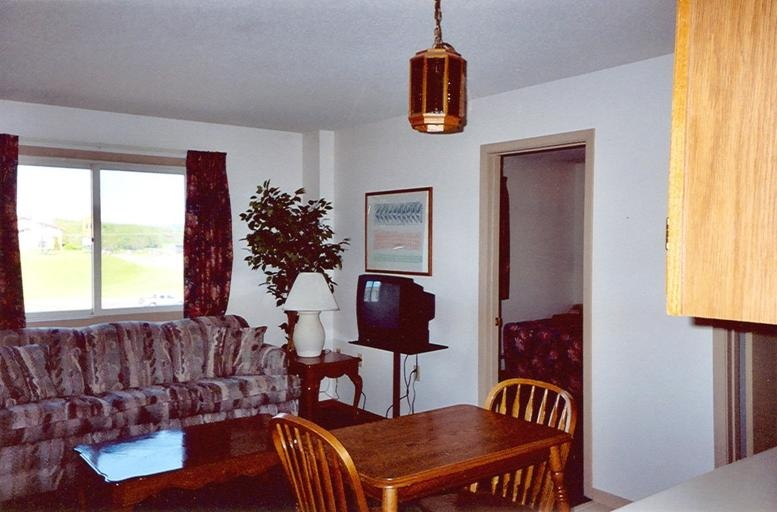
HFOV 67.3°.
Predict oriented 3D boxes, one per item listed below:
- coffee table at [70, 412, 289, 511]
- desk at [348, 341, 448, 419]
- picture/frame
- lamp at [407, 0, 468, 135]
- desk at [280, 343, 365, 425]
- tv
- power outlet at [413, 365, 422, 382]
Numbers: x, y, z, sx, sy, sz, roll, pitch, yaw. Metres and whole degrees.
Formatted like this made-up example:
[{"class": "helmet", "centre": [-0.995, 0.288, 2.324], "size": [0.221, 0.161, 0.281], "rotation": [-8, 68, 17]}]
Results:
[{"class": "coffee table", "centre": [-1.253, 1.245, 3.606], "size": [1.080, 0.231, 0.758], "rotation": [-1, 2, -40]}, {"class": "desk", "centre": [0.108, 1.093, 5.203], "size": [0.510, 0.844, 0.871], "rotation": [-2, 3, -20]}, {"class": "picture/frame", "centre": [0.120, -0.235, 5.504], "size": [0.918, 0.846, 0.033], "rotation": [0, 0, 44]}, {"class": "lamp", "centre": [0.183, -0.635, 2.176], "size": [0.209, 0.334, 0.102], "rotation": [0, 2, 1]}, {"class": "desk", "centre": [-0.624, 1.224, 5.358], "size": [0.706, 0.632, 0.690], "rotation": [-3, 7, -35]}, {"class": "tv", "centre": [-0.003, 0.408, 5.060], "size": [0.568, 0.677, 0.826], "rotation": [-1, 1, -42]}, {"class": "power outlet", "centre": [0.264, 1.064, 5.361], "size": [0.019, 0.175, 0.156], "rotation": [2, -5, -32]}]
